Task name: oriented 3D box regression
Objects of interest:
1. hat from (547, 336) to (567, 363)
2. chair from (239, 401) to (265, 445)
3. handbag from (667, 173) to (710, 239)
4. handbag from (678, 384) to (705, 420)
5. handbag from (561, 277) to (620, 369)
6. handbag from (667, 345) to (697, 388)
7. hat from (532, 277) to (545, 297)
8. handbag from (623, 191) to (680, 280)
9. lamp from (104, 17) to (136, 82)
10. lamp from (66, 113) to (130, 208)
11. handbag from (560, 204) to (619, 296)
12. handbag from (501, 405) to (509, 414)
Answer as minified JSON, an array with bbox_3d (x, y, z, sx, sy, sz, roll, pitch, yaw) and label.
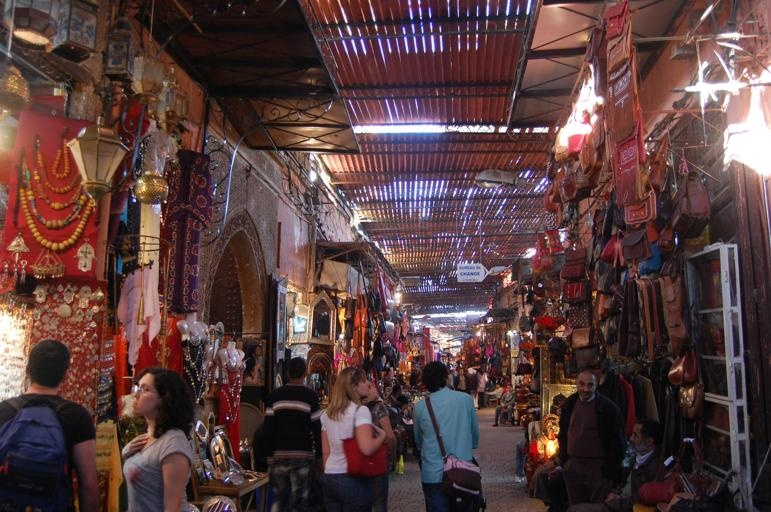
[{"bbox_3d":[2.739,1.488,9.933,0.278,0.429,0.412,-1,-20,5],"label":"hat"},{"bbox_3d":[-1.650,2.195,8.139,0.372,0.536,0.416,2,-19,-6],"label":"chair"},{"bbox_3d":[3.247,-0.513,6.640,0.231,0.546,0.539,3,-21,6],"label":"handbag"},{"bbox_3d":[3.169,1.494,6.401,0.108,0.394,0.347,13,-11,-13],"label":"handbag"},{"bbox_3d":[2.798,0.926,8.677,0.537,1.288,1.707,-3,-15,13],"label":"handbag"},{"bbox_3d":[3.114,1.150,6.492,0.178,0.369,0.362,25,-19,6],"label":"handbag"},{"bbox_3d":[2.871,0.597,11.785,0.088,0.299,0.284,0,-6,4],"label":"hat"},{"bbox_3d":[2.933,-0.257,6.824,0.498,0.994,0.667,8,-18,-10],"label":"handbag"},{"bbox_3d":[-2.263,-1.788,5.314,0.246,0.590,0.198,3,-14,-14],"label":"lamp"},{"bbox_3d":[-2.275,-0.780,4.911,0.437,0.622,0.434,-4,-8,32],"label":"lamp"},{"bbox_3d":[2.987,-0.034,8.814,0.450,1.246,0.821,7,-8,-32],"label":"handbag"},{"bbox_3d":[3.436,4.410,17.913,0.288,0.228,0.180,-6,1,12],"label":"handbag"}]
